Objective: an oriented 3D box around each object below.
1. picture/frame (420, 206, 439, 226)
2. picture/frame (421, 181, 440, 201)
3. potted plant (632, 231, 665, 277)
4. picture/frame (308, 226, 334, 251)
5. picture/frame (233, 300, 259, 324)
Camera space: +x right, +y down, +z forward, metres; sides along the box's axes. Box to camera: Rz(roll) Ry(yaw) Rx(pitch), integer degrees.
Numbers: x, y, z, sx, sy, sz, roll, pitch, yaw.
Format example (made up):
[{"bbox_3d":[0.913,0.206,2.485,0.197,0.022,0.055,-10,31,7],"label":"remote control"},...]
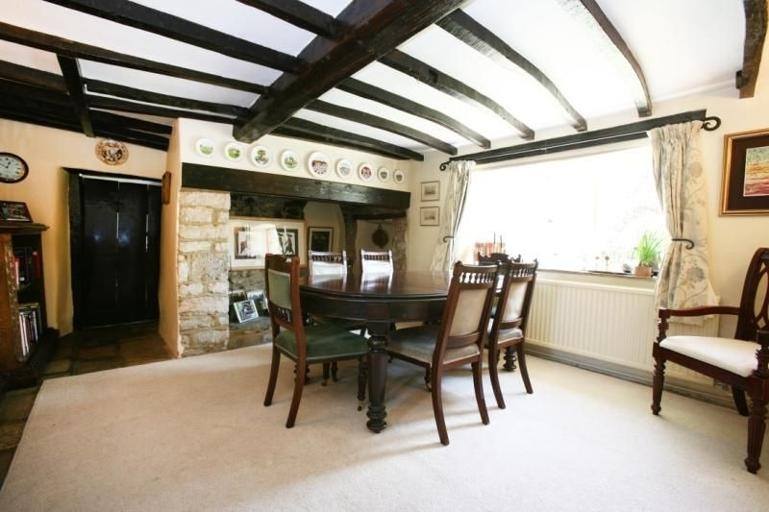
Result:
[{"bbox_3d":[0.642,-0.563,6.875,0.029,0.247,0.289,1,1,-41],"label":"picture/frame"},{"bbox_3d":[0.652,-0.909,6.855,0.029,0.249,0.289,-1,5,-39],"label":"picture/frame"},{"bbox_3d":[2.772,-0.017,5.178,0.417,0.590,0.415,3,-1,25],"label":"potted plant"},{"bbox_3d":[-0.988,-0.274,7.475,0.038,0.374,0.377,12,-4,41],"label":"picture/frame"},{"bbox_3d":[-1.811,0.720,6.433,0.079,0.278,0.304,-18,-10,37],"label":"picture/frame"}]
